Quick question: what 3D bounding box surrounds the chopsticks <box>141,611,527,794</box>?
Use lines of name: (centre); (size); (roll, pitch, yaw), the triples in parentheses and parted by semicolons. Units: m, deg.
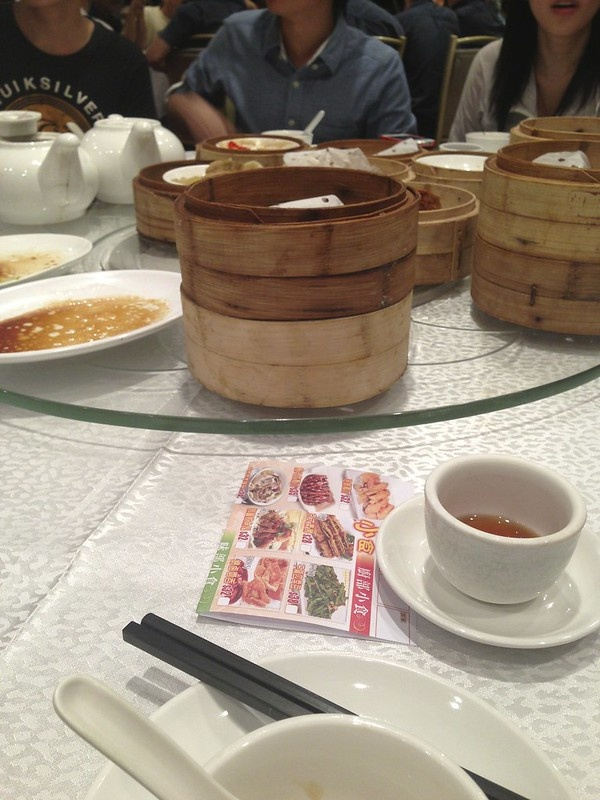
chopsticks: (0.027, 0.209, 0.482); (0.257, 0.015, 0.024); (18, 13, 16)
